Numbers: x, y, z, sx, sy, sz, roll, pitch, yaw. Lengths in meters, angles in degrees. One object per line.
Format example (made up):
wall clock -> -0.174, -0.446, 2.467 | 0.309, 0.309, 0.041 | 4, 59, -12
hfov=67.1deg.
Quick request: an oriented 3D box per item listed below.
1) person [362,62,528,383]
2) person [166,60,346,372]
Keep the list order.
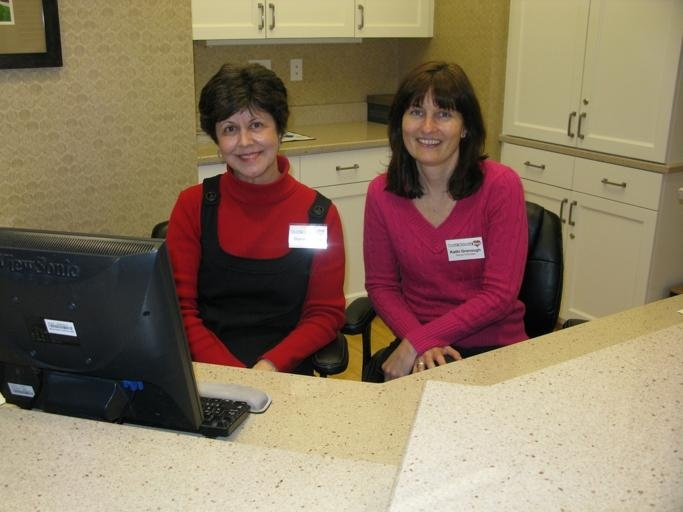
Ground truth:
person -> 0.364, -0.131, 1.781 | 0.569, 1.050, 0.483 | 1, 15, 2
person -> -0.281, -0.110, 1.759 | 0.572, 1.059, 0.491 | -9, 18, -29
